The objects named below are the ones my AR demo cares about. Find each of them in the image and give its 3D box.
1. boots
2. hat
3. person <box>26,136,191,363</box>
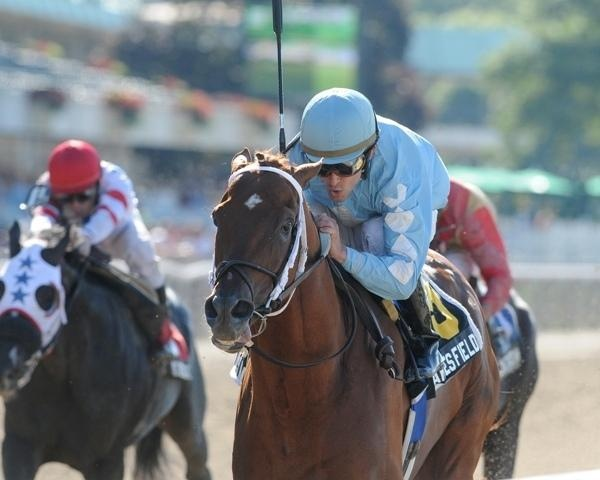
[{"bbox_3d":[1.072,0.798,11.396,0.325,0.945,0.517,-6,25,4],"label":"boots"},{"bbox_3d":[-2.091,-0.669,12.130,0.340,0.432,0.501,-3,-10,3],"label":"hat"},{"bbox_3d":[-2.008,0.123,13.241,0.740,2.673,1.467,-10,37,16],"label":"person"}]
